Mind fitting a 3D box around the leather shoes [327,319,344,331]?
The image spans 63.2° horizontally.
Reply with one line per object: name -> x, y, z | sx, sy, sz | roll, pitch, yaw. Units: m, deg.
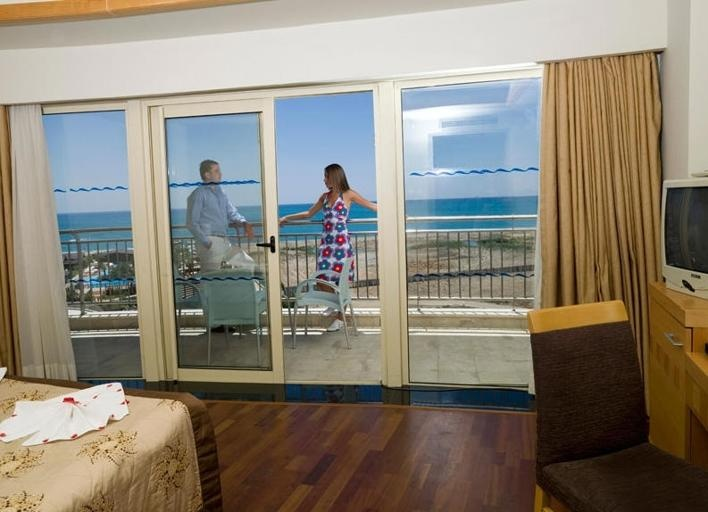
leather shoes -> -0.191, 0.705, 5.795 | 0.086, 0.079, 0.201 | -2, -4, 24

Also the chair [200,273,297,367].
chair -> -0.934, 0.449, 4.489 | 0.473, 0.797, 0.533 | -1, -22, -16

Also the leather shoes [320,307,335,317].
leather shoes -> -0.255, 0.572, 5.877 | 0.059, 0.115, 0.153 | 13, 2, -22

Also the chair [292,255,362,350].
chair -> -0.285, 0.386, 5.416 | 0.499, 0.723, 0.458 | 0, 9, 4
